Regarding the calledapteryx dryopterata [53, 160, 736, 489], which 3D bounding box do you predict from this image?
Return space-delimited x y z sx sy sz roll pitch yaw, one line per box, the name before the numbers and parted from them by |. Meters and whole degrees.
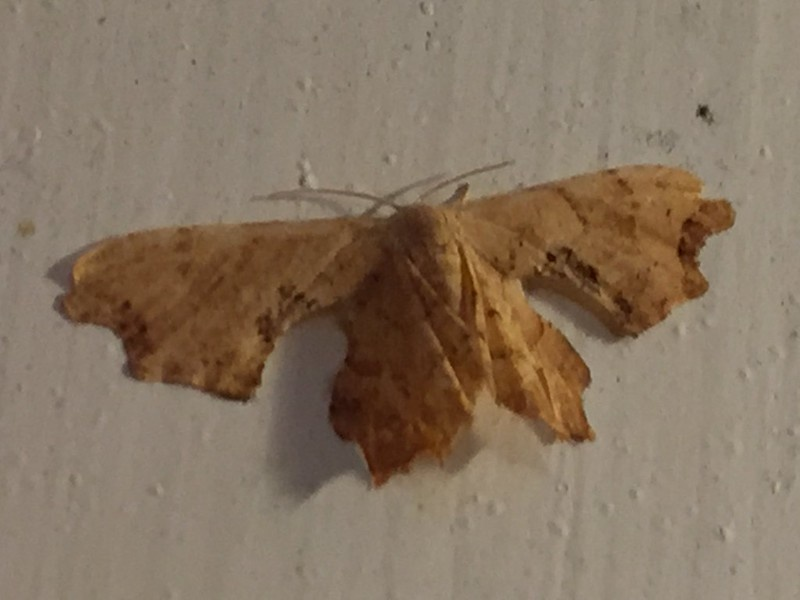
calledapteryx dryopterata | 0.002 -0.030 5.171 1.537 0.243 0.919 -7 84 -1
